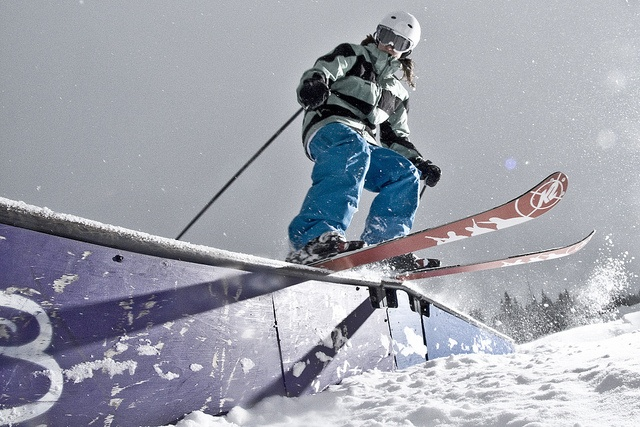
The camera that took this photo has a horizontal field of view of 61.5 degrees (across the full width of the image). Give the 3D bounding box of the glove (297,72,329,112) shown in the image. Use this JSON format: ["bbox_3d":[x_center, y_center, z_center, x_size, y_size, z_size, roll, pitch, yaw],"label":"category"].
[{"bbox_3d":[-0.077,-1.274,5.659,0.340,0.380,0.251,-5,12,-4],"label":"glove"}]

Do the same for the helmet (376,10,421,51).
[{"bbox_3d":[0.928,-2.115,6.439,0.441,0.460,0.488,21,9,-2],"label":"helmet"}]
